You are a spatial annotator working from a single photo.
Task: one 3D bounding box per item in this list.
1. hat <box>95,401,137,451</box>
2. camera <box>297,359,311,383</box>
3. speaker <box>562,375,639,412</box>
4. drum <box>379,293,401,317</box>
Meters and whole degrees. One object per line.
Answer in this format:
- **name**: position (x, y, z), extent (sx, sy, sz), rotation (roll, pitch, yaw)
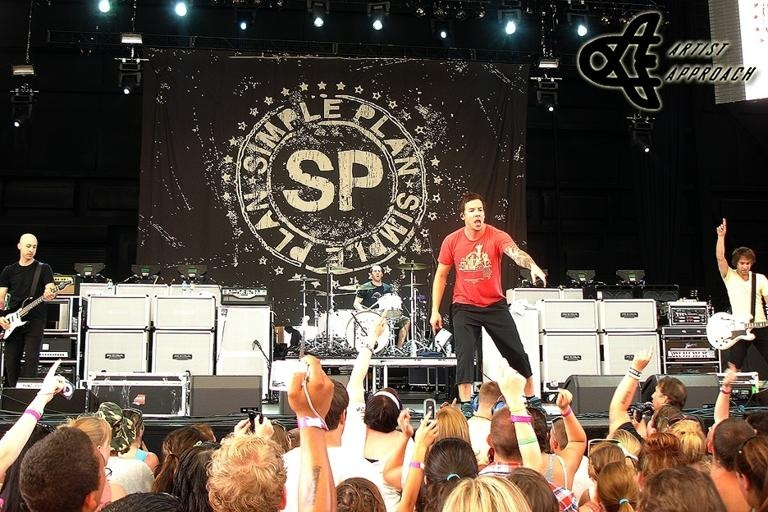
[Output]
- **hat**: position (-2.492, 1.597, 8.079), extent (0.146, 0.389, 0.402), rotation (-19, -8, 31)
- **camera**: position (-0.609, 0.876, 6.551), extent (0.088, 0.174, 0.058), rotation (-10, -14, 33)
- **speaker**: position (2.596, 1.681, 10.715), extent (0.691, 0.452, 0.482), rotation (0, -2, -1)
- **drum**: position (0.094, 0.786, 13.590), extent (0.346, 0.354, 0.334), rotation (-8, -24, 14)
